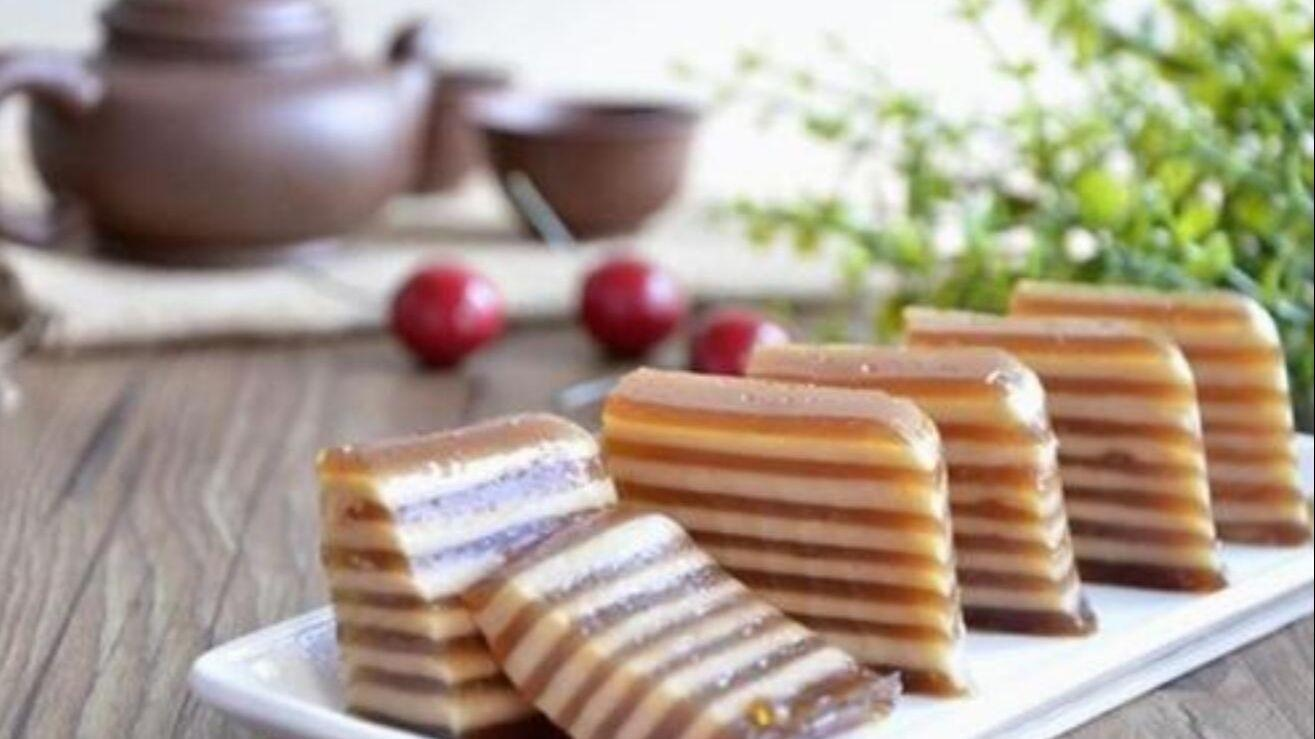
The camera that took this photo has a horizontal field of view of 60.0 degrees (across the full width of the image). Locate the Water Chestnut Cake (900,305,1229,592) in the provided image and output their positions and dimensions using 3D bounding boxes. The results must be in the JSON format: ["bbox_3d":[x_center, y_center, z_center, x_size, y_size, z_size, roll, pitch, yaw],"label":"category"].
[{"bbox_3d":[0.506,0.112,1.334,0.312,0.241,0.115,-4,13,46],"label":"Water Chestnut Cake"}]

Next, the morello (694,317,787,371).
[{"bbox_3d":[0.120,-0.048,1.793,0.126,0.106,0.104,4,65,9],"label":"morello"}]

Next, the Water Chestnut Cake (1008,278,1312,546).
[{"bbox_3d":[0.551,0.057,1.272,0.295,0.103,0.251,2,78,-4],"label":"Water Chestnut Cake"}]

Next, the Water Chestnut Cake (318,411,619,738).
[{"bbox_3d":[-0.165,0.137,1.119,0.316,0.302,0.240,-7,8,-18],"label":"Water Chestnut Cake"}]

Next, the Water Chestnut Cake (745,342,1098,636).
[{"bbox_3d":[0.285,0.130,1.263,0.358,0.269,0.129,-3,3,38],"label":"Water Chestnut Cake"}]

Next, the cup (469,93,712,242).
[{"bbox_3d":[-0.151,-0.400,2.124,0.430,0.263,0.298,8,42,0],"label":"cup"}]
